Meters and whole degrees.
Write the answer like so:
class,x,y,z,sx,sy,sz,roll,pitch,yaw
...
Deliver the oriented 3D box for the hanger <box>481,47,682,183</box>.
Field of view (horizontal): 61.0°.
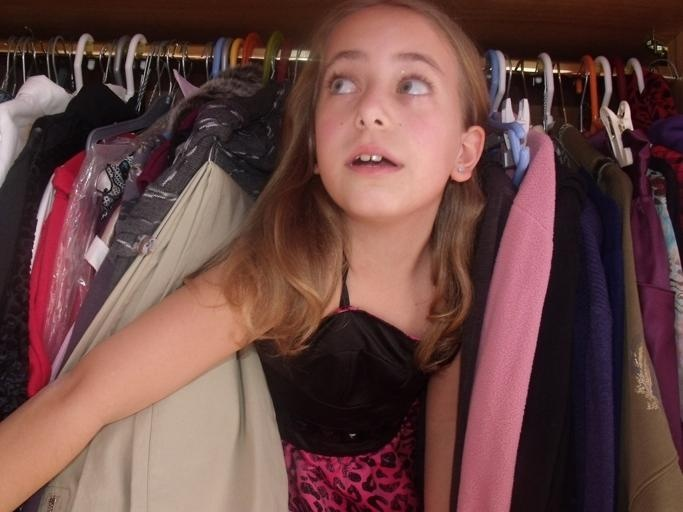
class,x,y,z,sx,sy,sz,roll,pitch,yaw
hanger,0.494,-0.306,1.272,0.380,0.248,0.485,5,10,6
